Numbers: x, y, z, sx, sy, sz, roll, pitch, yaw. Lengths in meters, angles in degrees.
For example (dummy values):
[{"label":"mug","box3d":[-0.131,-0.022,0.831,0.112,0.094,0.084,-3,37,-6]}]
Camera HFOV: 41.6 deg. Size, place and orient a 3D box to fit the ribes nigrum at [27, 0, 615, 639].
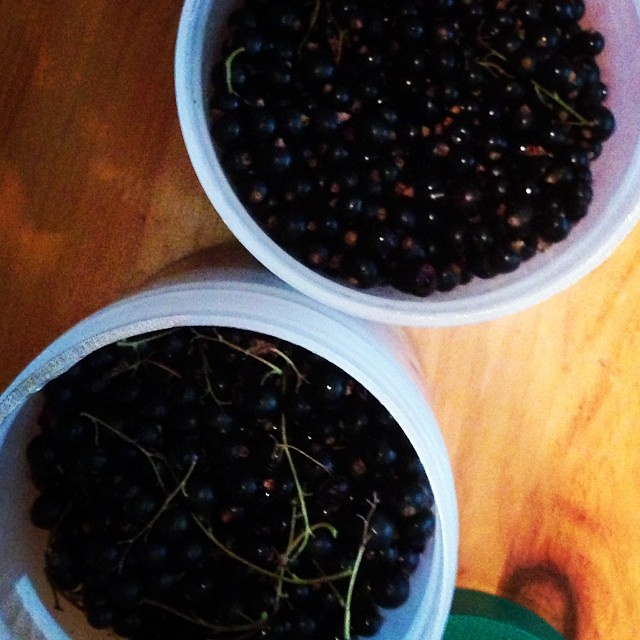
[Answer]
[{"label":"ribes nigrum","box3d":[-0.040,0.090,1.083,0.453,0.443,0.417,-4,105,0]}]
